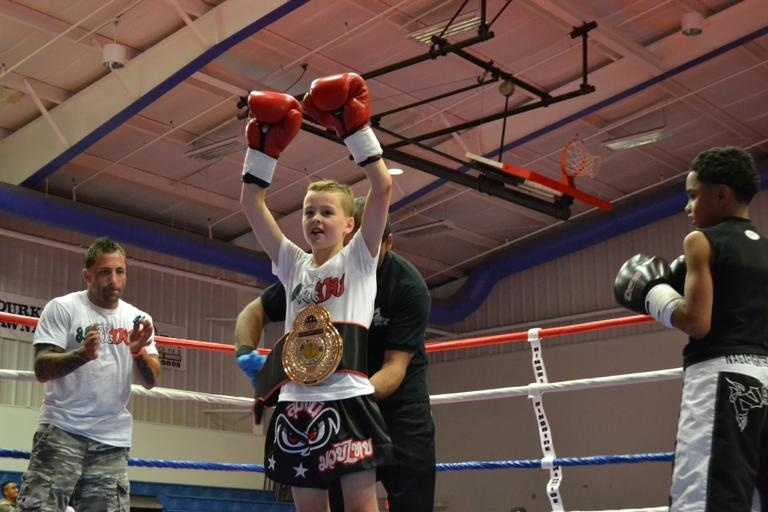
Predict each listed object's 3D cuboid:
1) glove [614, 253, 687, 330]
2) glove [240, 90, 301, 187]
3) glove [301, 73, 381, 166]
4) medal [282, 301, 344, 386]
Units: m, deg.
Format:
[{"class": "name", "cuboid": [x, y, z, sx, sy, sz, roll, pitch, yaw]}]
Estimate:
[{"class": "glove", "cuboid": [1.173, 0.122, 3.158, 0.248, 0.353, 0.259, 0, 18, -2]}, {"class": "glove", "cuboid": [-0.501, -0.524, 3.111, 0.223, 0.410, 0.253, 3, -6, 33]}, {"class": "glove", "cuboid": [-0.167, -0.563, 2.977, 0.257, 0.393, 0.213, -21, -2, -1]}, {"class": "medal", "cuboid": [-0.302, 0.360, 2.890, 0.266, 0.320, 0.070, -10, -26, 19]}]
